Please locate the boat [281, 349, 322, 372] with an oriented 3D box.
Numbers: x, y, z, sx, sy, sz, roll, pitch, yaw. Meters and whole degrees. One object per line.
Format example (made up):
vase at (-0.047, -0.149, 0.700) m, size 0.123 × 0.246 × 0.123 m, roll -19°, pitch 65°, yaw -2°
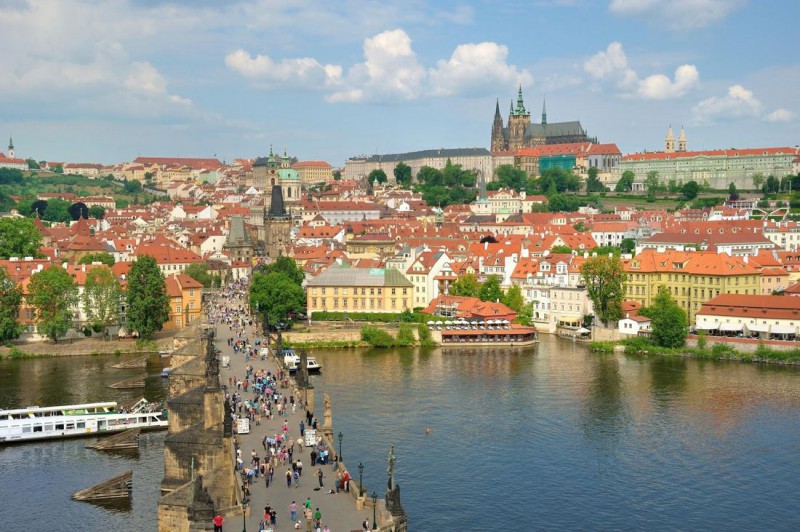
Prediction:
boat at (-8.746, 8.414, 97.694) m, size 4.518 × 1.531 × 1.960 m, roll 8°, pitch -10°, yaw -38°
